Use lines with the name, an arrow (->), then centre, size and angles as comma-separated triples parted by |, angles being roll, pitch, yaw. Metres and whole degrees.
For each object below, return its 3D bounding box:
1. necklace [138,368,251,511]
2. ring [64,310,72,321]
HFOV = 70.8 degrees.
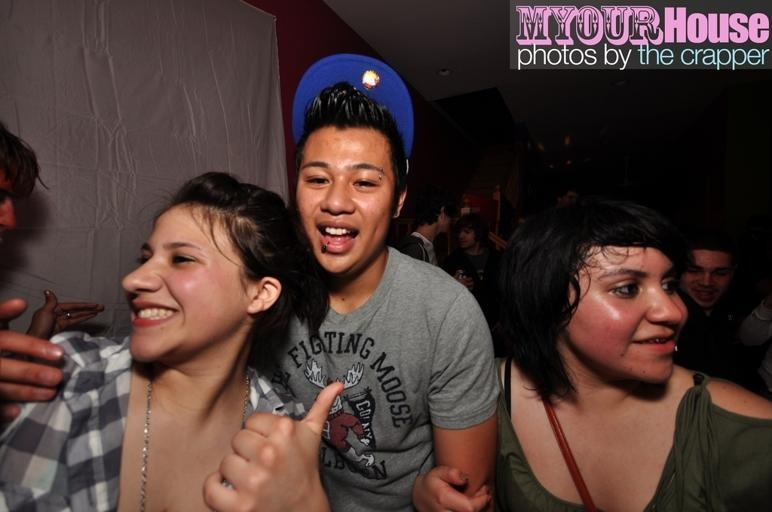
necklace -> -0.803, 0.780, 2.319 | 0.445, 0.500, 0.133 | 2, 4, -24
ring -> -1.531, 0.299, 2.609 | 0.037, 0.037, 0.022 | 3, -1, 16
